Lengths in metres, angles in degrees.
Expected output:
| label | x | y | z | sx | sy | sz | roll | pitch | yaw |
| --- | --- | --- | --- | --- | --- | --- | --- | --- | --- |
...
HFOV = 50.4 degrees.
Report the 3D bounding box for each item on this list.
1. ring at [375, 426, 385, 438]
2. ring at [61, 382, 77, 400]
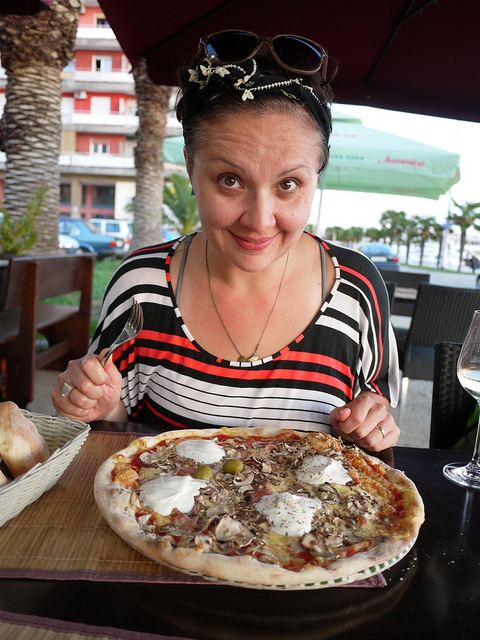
| label | x | y | z | sx | sy | sz | roll | pitch | yaw |
| --- | --- | --- | --- | --- | --- | --- | --- | --- | --- |
| ring | 0.354 | 0.283 | 1.278 | 0.007 | 0.024 | 0.025 | -29 | 28 | -5 |
| ring | -0.425 | 0.175 | 1.249 | 0.040 | 0.037 | 0.014 | -5 | -7 | 1 |
